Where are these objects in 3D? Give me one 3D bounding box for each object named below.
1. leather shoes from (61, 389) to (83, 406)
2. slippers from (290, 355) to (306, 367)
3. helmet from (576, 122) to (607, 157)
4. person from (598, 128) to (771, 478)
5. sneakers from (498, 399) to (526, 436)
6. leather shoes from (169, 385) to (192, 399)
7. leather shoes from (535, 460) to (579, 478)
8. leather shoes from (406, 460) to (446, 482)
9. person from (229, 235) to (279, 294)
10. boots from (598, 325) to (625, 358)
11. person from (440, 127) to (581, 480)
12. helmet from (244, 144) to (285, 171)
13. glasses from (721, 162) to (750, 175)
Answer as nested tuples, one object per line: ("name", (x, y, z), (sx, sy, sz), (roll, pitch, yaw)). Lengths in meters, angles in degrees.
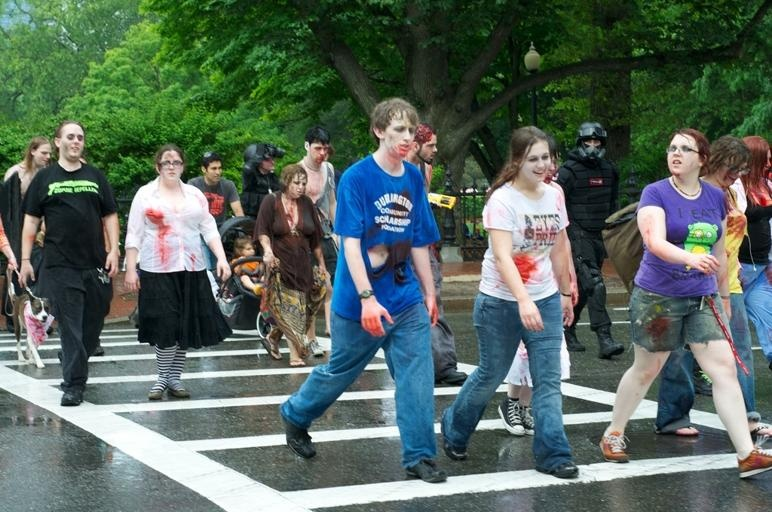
("leather shoes", (-3.053, 1.353, 7.933), (0.197, 0.155, 0.232), (-6, 5, -19))
("slippers", (-1.086, 1.252, 9.938), (0.217, 0.183, 0.113), (-6, -8, 40))
("helmet", (2.537, -1.444, 10.132), (0.391, 0.421, 0.461), (2, 7, 4))
("person", (2.246, 0.309, 6.396), (1.157, 2.579, 1.009), (-4, 5, 12))
("sneakers", (1.086, 1.394, 7.106), (0.140, 0.180, 0.386), (2, 7, -20))
("leather shoes", (-2.106, 1.386, 8.358), (0.251, 0.087, 0.092), (-5, -6, 38))
("leather shoes", (1.276, 1.568, 6.056), (0.239, 0.088, 0.121), (-7, -8, 37))
("leather shoes", (0.286, 1.549, 5.965), (0.309, 0.114, 0.138), (-1, -4, 30))
("person", (-1.924, 0.105, 11.793), (0.729, 0.684, 1.163), (-4, 10, -26))
("boots", (2.765, 1.031, 10.148), (0.191, 0.365, 0.417), (2, -14, -21))
("person", (0.935, 0.317, 6.254), (1.137, 2.601, 0.813), (-5, 5, 0))
("helmet", (-1.851, -1.529, 12.104), (0.582, 0.368, 0.237), (1, 30, 9))
("glasses", (2.931, -0.739, 6.872), (0.152, 0.048, 0.145), (1, -17, -26))
